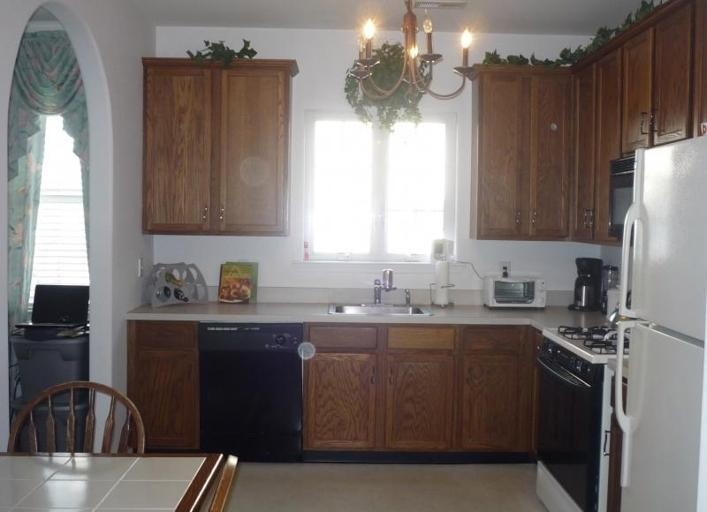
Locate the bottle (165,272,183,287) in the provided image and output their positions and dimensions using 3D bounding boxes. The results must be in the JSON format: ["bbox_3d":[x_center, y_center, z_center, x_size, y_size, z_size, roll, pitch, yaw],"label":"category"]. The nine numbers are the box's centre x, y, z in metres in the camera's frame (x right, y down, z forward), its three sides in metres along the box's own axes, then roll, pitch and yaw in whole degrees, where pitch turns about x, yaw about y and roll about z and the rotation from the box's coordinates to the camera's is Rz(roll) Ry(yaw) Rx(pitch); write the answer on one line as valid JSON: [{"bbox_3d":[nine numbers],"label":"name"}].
[{"bbox_3d":[-1.360,0.181,4.371,0.122,0.116,0.139,-2,2,-13],"label":"bottle"}]

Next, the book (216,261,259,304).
[{"bbox_3d":[-0.901,0.214,4.494,0.305,0.316,0.098,-2,3,-15],"label":"book"}]

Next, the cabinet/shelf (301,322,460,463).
[{"bbox_3d":[0.198,0.955,4.212,1.074,1.010,0.439,1,5,-2],"label":"cabinet/shelf"}]

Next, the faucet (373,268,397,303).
[{"bbox_3d":[0.256,0.244,4.528,0.188,0.273,0.181,-1,2,2],"label":"faucet"}]

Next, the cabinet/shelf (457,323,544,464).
[{"bbox_3d":[1.036,1.047,4.273,0.658,0.946,0.674,20,-33,-20],"label":"cabinet/shelf"}]

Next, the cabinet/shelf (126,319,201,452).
[{"bbox_3d":[-1.371,0.802,4.291,0.528,1.037,0.588,6,17,-4],"label":"cabinet/shelf"}]

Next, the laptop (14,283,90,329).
[{"bbox_3d":[-2.093,0.355,4.040,0.390,0.275,0.238,3,-3,-9],"label":"laptop"}]

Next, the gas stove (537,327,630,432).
[{"bbox_3d":[1.490,0.759,3.499,0.371,0.647,0.742,-4,4,4],"label":"gas stove"}]

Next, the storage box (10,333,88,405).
[{"bbox_3d":[-2.013,0.752,3.939,0.403,0.387,0.506,1,1,1],"label":"storage box"}]

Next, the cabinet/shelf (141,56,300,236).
[{"bbox_3d":[-1.019,-0.820,4.250,1.241,1.484,0.598,0,0,0],"label":"cabinet/shelf"}]

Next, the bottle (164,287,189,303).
[{"bbox_3d":[-1.339,0.293,4.348,0.029,0.139,0.194,1,3,42],"label":"bottle"}]
